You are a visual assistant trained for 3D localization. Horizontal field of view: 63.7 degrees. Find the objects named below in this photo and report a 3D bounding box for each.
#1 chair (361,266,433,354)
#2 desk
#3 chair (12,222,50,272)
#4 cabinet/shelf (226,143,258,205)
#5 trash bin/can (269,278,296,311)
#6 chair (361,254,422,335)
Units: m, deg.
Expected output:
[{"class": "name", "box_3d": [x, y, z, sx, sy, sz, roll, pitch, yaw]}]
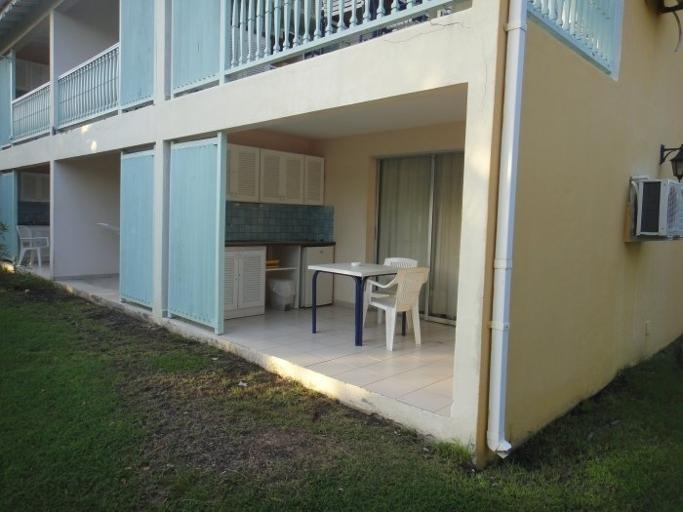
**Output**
[{"class": "chair", "box_3d": [0.667, 0.576, 6.968, 0.577, 1.084, 0.696, -7, 16, -32]}, {"class": "desk", "box_3d": [-0.025, 0.618, 7.149, 0.994, 0.809, 1.066, 3, -10, 36]}, {"class": "chair", "box_3d": [-6.786, -0.240, 12.063, 0.639, 1.027, 2.652, -4, 9, -28]}, {"class": "cabinet/shelf", "box_3d": [-1.505, -1.250, 8.217, 0.285, 0.915, 0.812, 7, 7, 43]}, {"class": "trash bin/can", "box_3d": [-0.934, 0.538, 8.740, 0.396, 0.539, 0.496, -4, 8, -41]}, {"class": "chair", "box_3d": [0.583, 0.486, 7.956, 0.799, 1.298, 0.844, -7, 11, -43]}]
